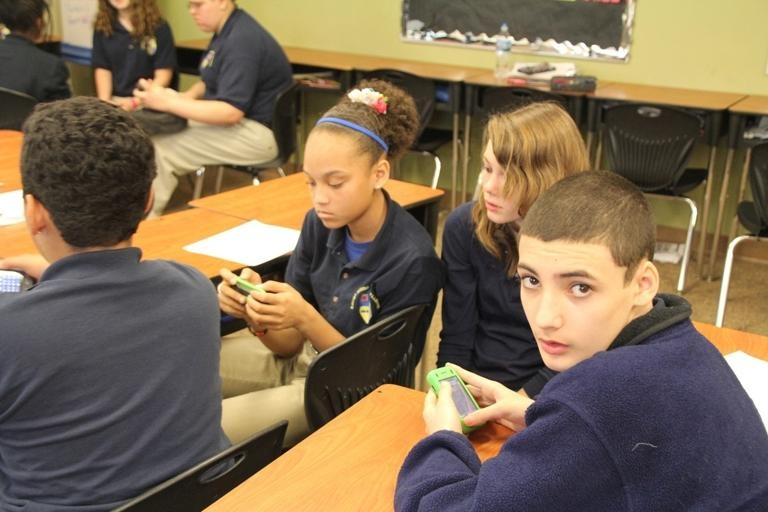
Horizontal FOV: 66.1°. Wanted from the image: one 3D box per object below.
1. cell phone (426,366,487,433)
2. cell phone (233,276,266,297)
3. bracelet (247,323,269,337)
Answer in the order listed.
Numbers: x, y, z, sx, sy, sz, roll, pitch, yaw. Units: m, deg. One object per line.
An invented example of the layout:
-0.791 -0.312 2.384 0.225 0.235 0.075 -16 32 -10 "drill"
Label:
0.180 0.345 1.452 0.092 0.038 0.159 -17 61 -29 "cell phone"
-0.441 0.100 1.921 0.114 0.059 0.035 7 17 20 "cell phone"
-0.451 0.260 2.116 0.059 0.028 0.067 4 -3 34 "bracelet"
